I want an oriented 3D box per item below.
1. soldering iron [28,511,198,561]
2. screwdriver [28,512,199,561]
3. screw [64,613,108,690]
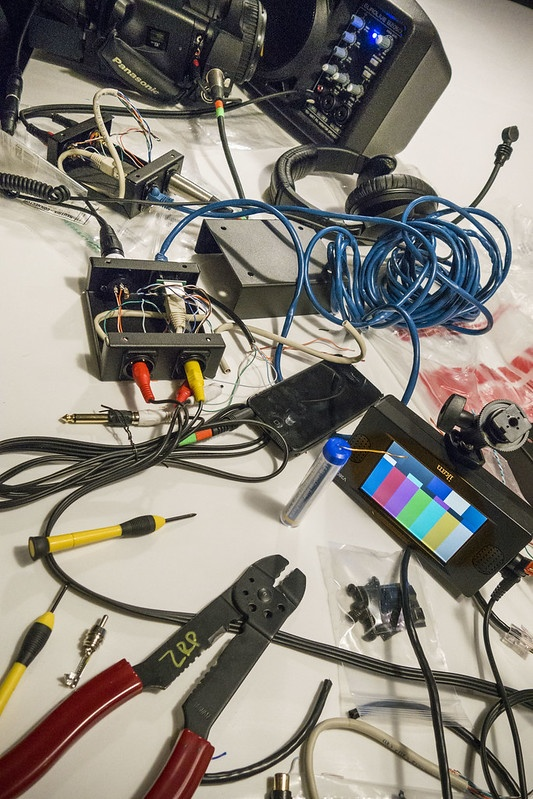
[{"bbox_3d":[-0.149,0.128,0.590,0.184,0.027,0.027,-9,85,-35],"label":"soldering iron"},{"bbox_3d":[-0.149,0.129,0.590,0.182,0.027,0.027,-9,85,-36],"label":"screwdriver"},{"bbox_3d":[-0.144,0.202,0.515,0.015,0.018,0.057,12,48,21],"label":"screw"}]
